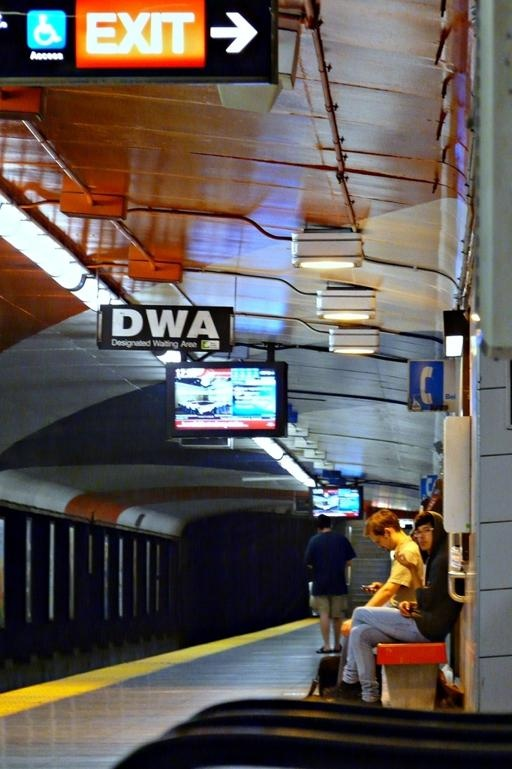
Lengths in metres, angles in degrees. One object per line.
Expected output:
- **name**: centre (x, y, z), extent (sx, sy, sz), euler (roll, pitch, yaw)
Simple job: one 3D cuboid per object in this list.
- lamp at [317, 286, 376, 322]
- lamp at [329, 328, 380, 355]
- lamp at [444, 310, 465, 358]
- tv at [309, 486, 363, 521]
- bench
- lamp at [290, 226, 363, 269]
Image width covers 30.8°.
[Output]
- **lamp**: centre (0.974, -0.849, 9.913), extent (0.557, 0.355, 0.256), euler (3, 4, 10)
- **lamp**: centre (1.176, -0.533, 11.317), extent (0.590, 0.322, 0.296), euler (4, 8, 9)
- **lamp**: centre (1.446, -0.363, 6.816), extent (0.168, 0.351, 0.241), euler (4, 8, 6)
- **tv**: centre (1.665, 2.555, 19.940), extent (1.744, 0.903, 0.164), euler (1, -1, -22)
- **bench**: centre (0.773, 1.605, 5.004), extent (0.420, 0.346, 0.330), euler (2, -22, -11)
- **lamp**: centre (0.605, -1.159, 8.097), extent (0.542, 0.236, 0.380), euler (0, 1, 5)
